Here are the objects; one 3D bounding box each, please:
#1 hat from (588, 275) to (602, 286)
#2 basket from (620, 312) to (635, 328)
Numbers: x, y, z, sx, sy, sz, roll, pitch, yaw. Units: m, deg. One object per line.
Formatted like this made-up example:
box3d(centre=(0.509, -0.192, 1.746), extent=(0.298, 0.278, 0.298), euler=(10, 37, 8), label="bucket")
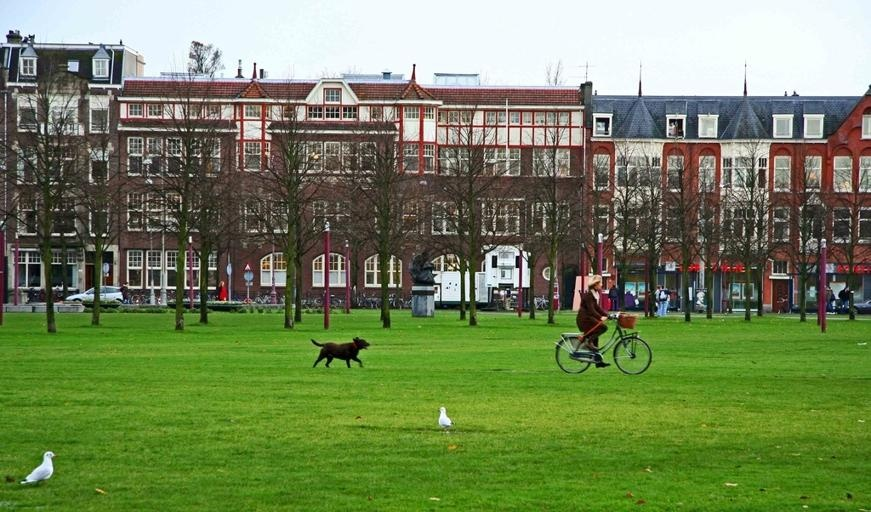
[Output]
box3d(centre=(8.535, 1.274, 82.058), extent=(0.709, 0.544, 1.073), euler=(-1, -4, 4), label="hat")
box3d(centre=(10.221, 3.435, 82.135), extent=(0.755, 0.581, 0.770), euler=(-5, -7, 31), label="basket")
